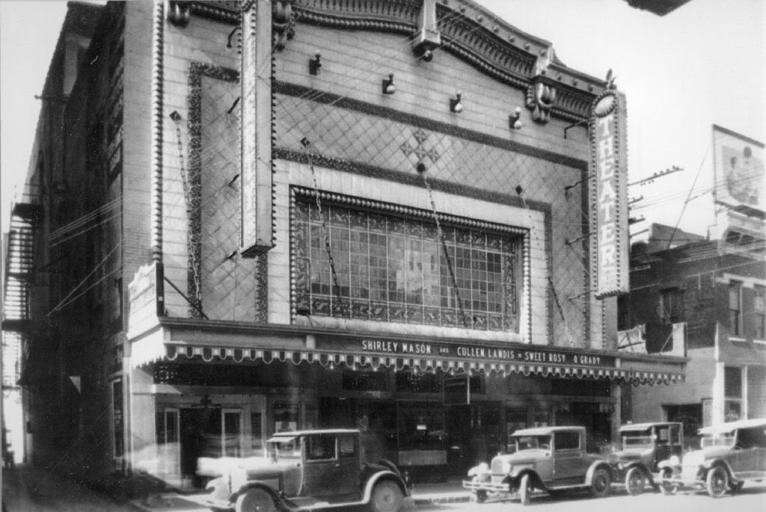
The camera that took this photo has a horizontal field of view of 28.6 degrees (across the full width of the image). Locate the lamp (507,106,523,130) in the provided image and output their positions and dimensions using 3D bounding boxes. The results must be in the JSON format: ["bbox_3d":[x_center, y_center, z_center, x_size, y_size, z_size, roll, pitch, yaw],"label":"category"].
[{"bbox_3d":[3.626,-3.765,41.125,0.416,0.620,0.193,7,-16,-29],"label":"lamp"}]

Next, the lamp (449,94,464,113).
[{"bbox_3d":[1.930,-4.063,40.199,0.424,0.607,0.299,5,-8,-29],"label":"lamp"}]

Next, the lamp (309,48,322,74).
[{"bbox_3d":[-1.707,-4.880,38.363,0.334,0.548,0.238,3,-15,-16],"label":"lamp"}]

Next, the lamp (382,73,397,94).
[{"bbox_3d":[0.170,-4.510,39.302,0.392,0.570,0.212,4,-15,-19],"label":"lamp"}]
